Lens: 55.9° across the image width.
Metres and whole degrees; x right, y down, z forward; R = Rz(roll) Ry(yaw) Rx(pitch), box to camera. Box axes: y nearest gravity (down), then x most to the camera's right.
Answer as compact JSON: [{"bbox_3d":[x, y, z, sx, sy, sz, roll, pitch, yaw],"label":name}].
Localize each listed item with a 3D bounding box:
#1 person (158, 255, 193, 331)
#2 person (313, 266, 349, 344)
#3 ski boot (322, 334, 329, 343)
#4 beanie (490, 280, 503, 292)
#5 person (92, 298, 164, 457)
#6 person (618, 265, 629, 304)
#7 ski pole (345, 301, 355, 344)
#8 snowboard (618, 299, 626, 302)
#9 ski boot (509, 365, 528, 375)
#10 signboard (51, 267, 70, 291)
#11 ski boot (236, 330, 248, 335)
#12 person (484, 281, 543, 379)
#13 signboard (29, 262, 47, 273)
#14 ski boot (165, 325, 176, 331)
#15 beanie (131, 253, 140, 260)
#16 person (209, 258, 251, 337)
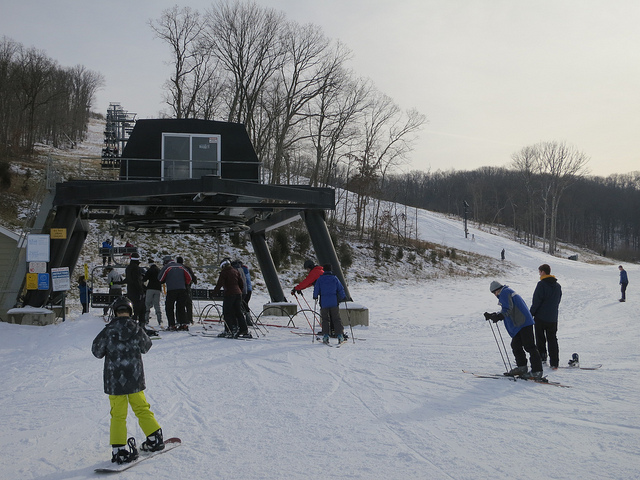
[{"bbox_3d":[-4.292,1.578,17.681,0.901,2.210,0.666,0,-3,-19],"label":"person"},{"bbox_3d":[0.191,1.792,16.548,0.800,2.131,0.638,-1,-3,-2],"label":"person"},{"bbox_3d":[0.123,2.736,16.695,0.161,0.230,0.189,-1,-3,2],"label":"ski boot"},{"bbox_3d":[3.934,1.022,13.632,0.266,0.224,0.228,7,-49,-27],"label":"beanie"},{"bbox_3d":[-3.100,2.175,9.629,1.039,2.482,0.359,0,-3,-24],"label":"person"},{"bbox_3d":[14.807,2.155,29.506,0.366,1.732,1.706,-2,-3,26],"label":"person"},{"bbox_3d":[0.924,2.682,19.275,0.042,1.355,0.085,-26,-27,31],"label":"ski pole"},{"bbox_3d":[14.581,2.934,29.171,0.363,0.170,0.131,-2,5,11],"label":"snowboard"},{"bbox_3d":[4.446,2.910,13.514,0.423,0.212,0.127,-1,-3,1],"label":"ski boot"},{"bbox_3d":[-7.339,1.100,16.960,0.584,0.850,0.086,-7,1,-44],"label":"signboard"},{"bbox_3d":[-2.219,2.607,17.007,0.268,0.125,0.066,-1,-3,-2],"label":"ski boot"},{"bbox_3d":[4.344,2.010,13.495,1.489,2.150,0.768,1,-3,-28],"label":"person"},{"bbox_3d":[-8.370,0.817,17.787,0.437,0.297,0.281,0,-3,-27],"label":"signboard"},{"bbox_3d":[-4.482,2.619,17.886,0.338,0.171,0.120,8,5,37],"label":"ski boot"},{"bbox_3d":[-5.366,0.481,17.352,0.161,0.141,0.174,-2,0,23],"label":"beanie"},{"bbox_3d":[-2.491,1.622,16.814,0.913,2.223,1.182,0,-3,-9],"label":"person"}]
